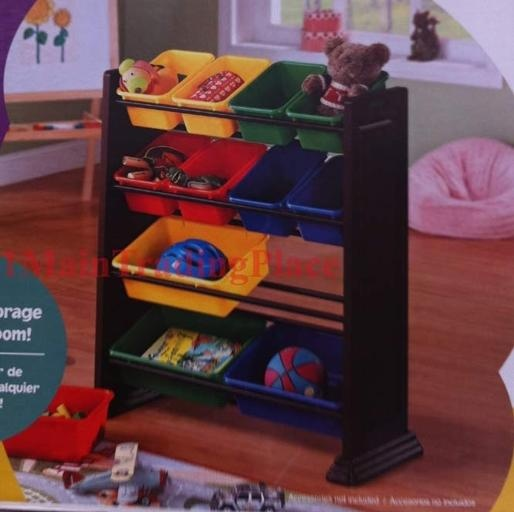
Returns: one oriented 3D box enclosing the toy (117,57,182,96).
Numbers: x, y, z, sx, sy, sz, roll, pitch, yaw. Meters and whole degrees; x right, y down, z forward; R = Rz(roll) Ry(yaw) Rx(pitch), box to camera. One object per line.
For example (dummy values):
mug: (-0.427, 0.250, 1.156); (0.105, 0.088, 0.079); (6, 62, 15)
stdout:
toy: (-0.334, -0.526, 1.767); (0.185, 0.108, 0.071); (2, -27, -28)

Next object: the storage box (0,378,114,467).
storage box: (-0.620, 0.535, 1.798); (0.218, 0.119, 0.295); (7, 13, 17)

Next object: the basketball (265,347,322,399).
basketball: (0.119, 0.403, 1.874); (0.162, 0.149, 0.149); (-18, -33, 21)

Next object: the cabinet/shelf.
cabinet/shelf: (-0.012, 0.058, 1.790); (1.260, 1.298, 0.542); (11, 18, 35)

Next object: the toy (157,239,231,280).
toy: (-0.202, 0.011, 1.861); (0.195, 0.088, 0.133); (11, 10, 11)

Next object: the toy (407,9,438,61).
toy: (0.564, -0.730, 1.921); (0.103, 0.161, 0.075); (7, 23, 19)

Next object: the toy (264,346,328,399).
toy: (0.119, 0.363, 1.767); (0.161, 0.169, 0.161); (1, -15, 2)

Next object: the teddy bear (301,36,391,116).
teddy bear: (0.252, -0.480, 1.586); (0.148, 0.218, 0.221); (-5, 29, -34)

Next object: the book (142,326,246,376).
book: (-0.237, 0.342, 2.057); (0.217, 0.036, 0.148); (12, 37, 24)
